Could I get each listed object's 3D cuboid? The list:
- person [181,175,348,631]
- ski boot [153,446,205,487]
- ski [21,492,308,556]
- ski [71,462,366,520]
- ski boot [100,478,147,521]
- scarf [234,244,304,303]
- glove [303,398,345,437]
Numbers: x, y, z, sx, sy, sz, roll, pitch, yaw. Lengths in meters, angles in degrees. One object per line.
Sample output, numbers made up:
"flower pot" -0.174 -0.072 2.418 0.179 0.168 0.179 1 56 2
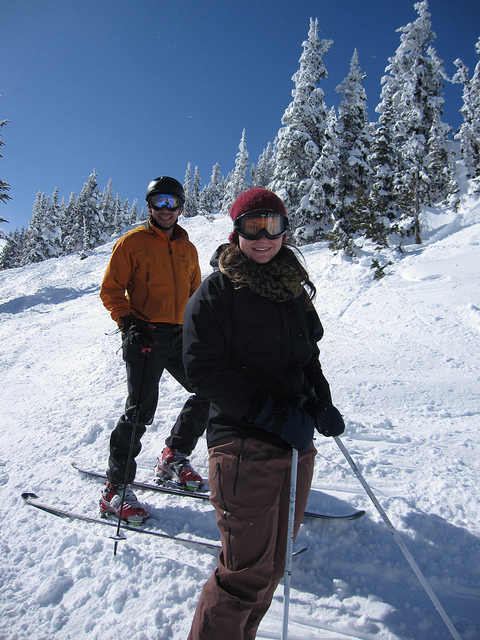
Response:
"person" 0.118 0.574 3.071 0.904 2.630 1.495 0 14 12
"ski boot" -0.577 1.376 4.661 0.307 0.210 0.664 -9 20 -24
"ski" -1.118 1.606 4.075 1.936 0.098 0.162 2 -6 29
"ski" -0.134 1.689 4.755 2.940 0.220 0.253 -9 -13 35
"ski boot" -0.973 1.502 4.202 0.205 0.305 0.616 4 -4 -44
"scarf" 0.188 -0.300 3.277 0.478 0.346 0.343 -6 14 -12
"glove" 0.551 0.603 3.254 0.097 0.194 0.276 -35 38 -23
